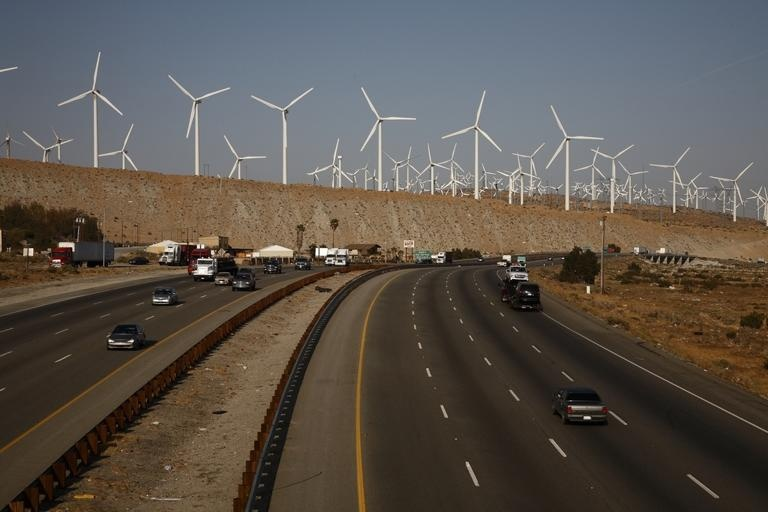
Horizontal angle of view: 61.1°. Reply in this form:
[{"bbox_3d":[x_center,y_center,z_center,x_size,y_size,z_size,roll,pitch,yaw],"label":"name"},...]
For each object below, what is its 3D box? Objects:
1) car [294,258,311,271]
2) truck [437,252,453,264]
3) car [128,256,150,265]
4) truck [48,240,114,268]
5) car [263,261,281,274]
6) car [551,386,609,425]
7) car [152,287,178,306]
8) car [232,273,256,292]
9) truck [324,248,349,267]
[{"bbox_3d":[-14.296,1.490,114.088,2.625,1.910,3.167,-1,10,-9],"label":"car"},{"bbox_3d":[13.515,0.515,147.428,1.801,1.938,3.958,-3,-8,21],"label":"truck"},{"bbox_3d":[-44.513,1.054,117.823,2.137,1.042,4.115,1,10,2],"label":"car"},{"bbox_3d":[-50.737,-0.203,109.462,4.004,4.502,12.737,-1,-2,31],"label":"truck"},{"bbox_3d":[-18.214,1.896,106.699,1.708,1.471,3.005,-1,-5,1],"label":"car"},{"bbox_3d":[11.110,8.591,37.427,1.421,1.045,3.102,0,2,-2],"label":"car"},{"bbox_3d":[-22.841,4.298,67.299,1.974,1.597,2.179,0,10,-6],"label":"car"},{"bbox_3d":[-17.336,3.303,80.217,2.490,1.847,2.313,1,10,0],"label":"car"},{"bbox_3d":[-8.949,-0.021,123.023,3.677,3.129,6.380,-1,-4,6],"label":"truck"}]
